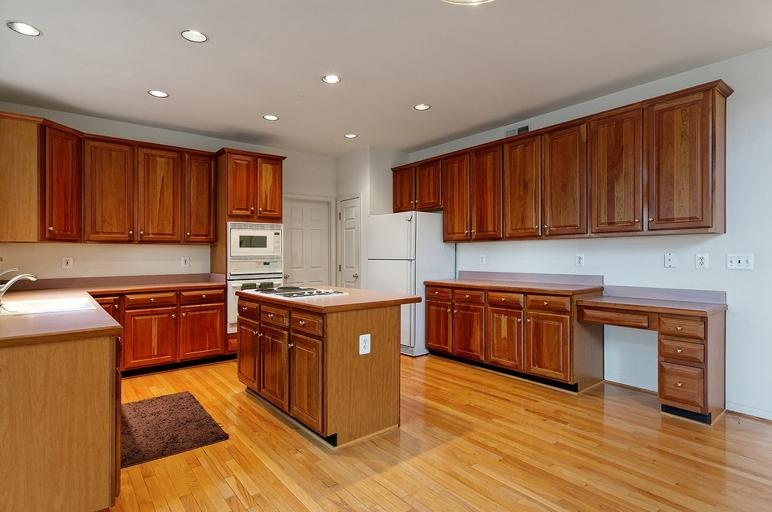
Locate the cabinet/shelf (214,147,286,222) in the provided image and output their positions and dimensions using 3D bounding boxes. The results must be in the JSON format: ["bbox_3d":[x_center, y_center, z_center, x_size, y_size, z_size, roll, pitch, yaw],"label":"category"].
[{"bbox_3d":[-1.810,-0.836,6.363,0.834,0.940,0.536,-1,0,-38],"label":"cabinet/shelf"}]

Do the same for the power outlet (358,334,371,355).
[{"bbox_3d":[-0.192,0.746,4.164,0.198,0.212,0.023,2,-2,-40],"label":"power outlet"}]

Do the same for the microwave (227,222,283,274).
[{"bbox_3d":[-1.717,-0.061,6.367,0.738,0.661,0.435,-2,-4,-26],"label":"microwave"}]

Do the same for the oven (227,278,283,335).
[{"bbox_3d":[-1.760,0.546,6.423,0.655,0.838,0.879,2,-3,-24],"label":"oven"}]

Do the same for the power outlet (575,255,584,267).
[{"bbox_3d":[2.136,0.047,5.414,0.024,0.164,0.128,-2,3,-38],"label":"power outlet"}]

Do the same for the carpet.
[{"bbox_3d":[-1.954,1.528,4.487,0.820,0.233,1.083,-2,2,-27],"label":"carpet"}]

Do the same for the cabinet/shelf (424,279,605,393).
[{"bbox_3d":[1.339,0.823,5.516,1.782,1.021,0.426,0,3,38],"label":"cabinet/shelf"}]

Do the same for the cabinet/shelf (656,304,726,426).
[{"bbox_3d":[2.822,0.964,4.429,0.679,1.022,0.313,-2,3,-12],"label":"cabinet/shelf"}]

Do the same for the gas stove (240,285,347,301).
[{"bbox_3d":[-0.894,0.347,4.851,0.722,0.032,1.103,-3,2,-39],"label":"gas stove"}]
